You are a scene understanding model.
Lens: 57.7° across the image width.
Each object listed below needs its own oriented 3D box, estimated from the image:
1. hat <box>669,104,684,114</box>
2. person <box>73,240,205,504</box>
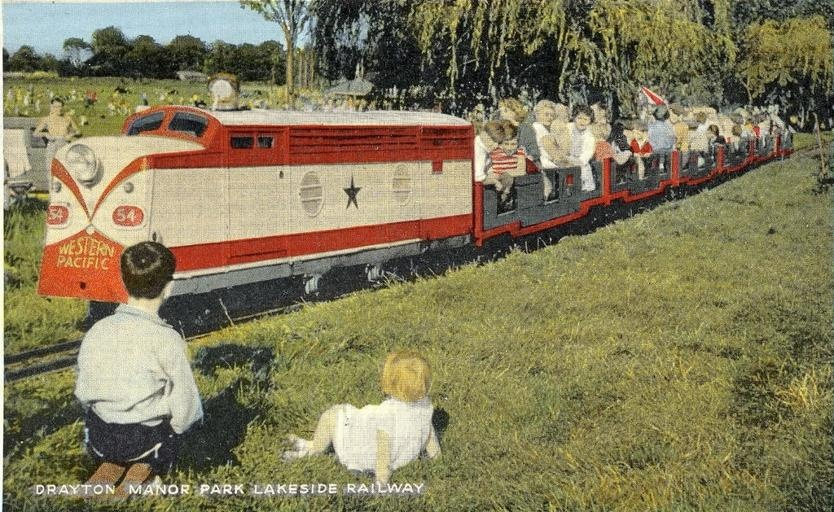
[{"bbox_3d":[3.529,-1.993,10.222,0.192,0.148,0.149,3,12,14],"label":"hat"},{"bbox_3d":[-2.817,1.269,7.531,1.304,2.735,0.531,3,10,20],"label":"person"}]
